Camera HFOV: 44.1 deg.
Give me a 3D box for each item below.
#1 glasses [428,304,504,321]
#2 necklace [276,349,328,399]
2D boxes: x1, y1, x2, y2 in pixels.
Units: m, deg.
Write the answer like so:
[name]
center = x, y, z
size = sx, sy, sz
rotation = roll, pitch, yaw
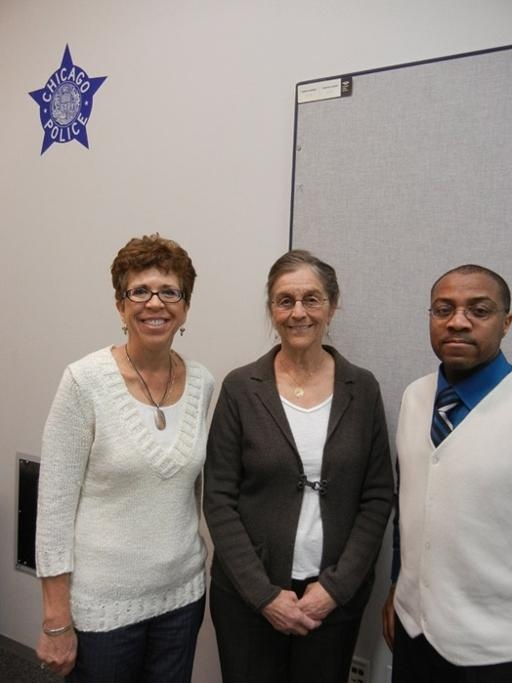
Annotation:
[glasses]
center = 0.521, -0.071, 1.591
size = 0.160, 0.037, 0.060
rotation = 0, 4, 19
[necklace]
center = 0.147, 0.110, 1.904
size = 0.142, 0.155, 0.089
rotation = -1, -18, 5
